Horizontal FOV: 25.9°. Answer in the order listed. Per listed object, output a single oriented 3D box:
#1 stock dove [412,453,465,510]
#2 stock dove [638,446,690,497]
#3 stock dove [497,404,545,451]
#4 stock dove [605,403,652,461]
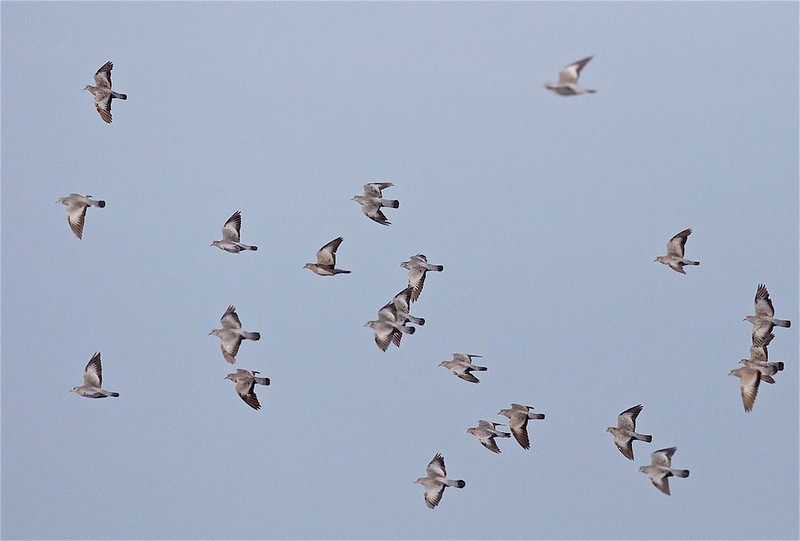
[{"bbox_3d":[0.373,1.867,15.729,0.421,0.612,0.239,-3,-46,16],"label":"stock dove"},{"bbox_3d":[2.388,1.686,15.697,0.434,0.172,0.476,14,-66,13],"label":"stock dove"},{"bbox_3d":[1.068,1.314,15.707,0.329,0.279,0.386,19,-61,-7],"label":"stock dove"},{"bbox_3d":[2.060,1.413,15.727,0.400,0.553,0.166,-1,-34,15],"label":"stock dove"}]
